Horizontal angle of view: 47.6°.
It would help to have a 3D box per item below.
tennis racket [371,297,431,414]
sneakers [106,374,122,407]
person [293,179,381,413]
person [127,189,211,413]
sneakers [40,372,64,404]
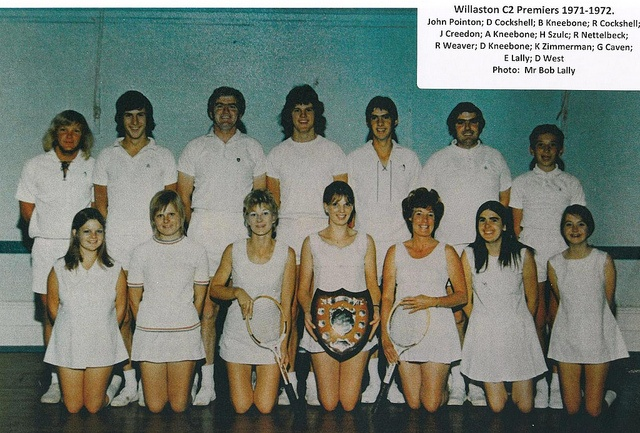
[{"bbox_3d":[0.735,1.234,6.497,0.376,1.185,0.065,23,-11,10],"label":"tennis racket"},{"bbox_3d":[-1.904,1.601,6.693,0.081,0.102,0.236,8,44,-11],"label":"sneakers"},{"bbox_3d":[0.177,0.710,6.616,0.740,2.060,0.332,-2,1,-2],"label":"person"},{"bbox_3d":[-1.374,0.752,6.597,0.706,1.982,0.284,-2,1,-14],"label":"person"},{"bbox_3d":[-2.472,1.626,6.699,0.128,0.212,0.348,2,-16,-2],"label":"sneakers"}]
